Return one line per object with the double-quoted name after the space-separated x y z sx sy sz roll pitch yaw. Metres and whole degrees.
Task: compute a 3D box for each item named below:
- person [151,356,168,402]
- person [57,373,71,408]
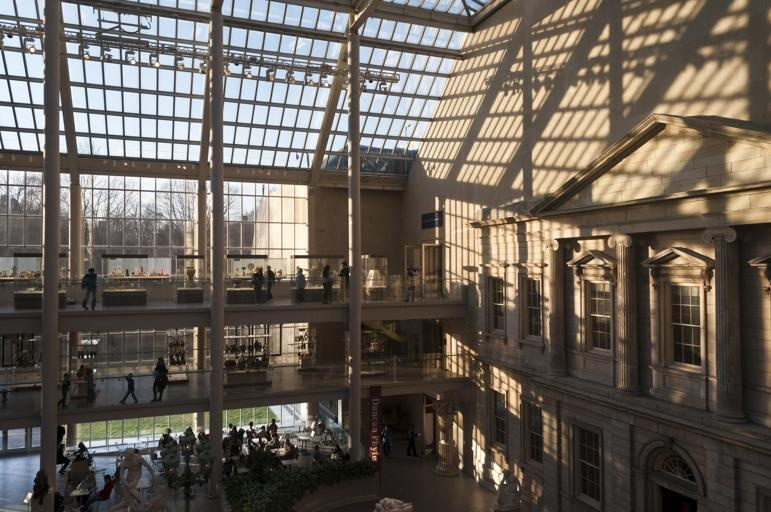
-10.464 5.681 31.024 0.664 1.931 1.140 -1 -4 -20 "person"
-14.419 6.062 30.149 0.487 1.343 1.459 0 -4 -24 "person"
